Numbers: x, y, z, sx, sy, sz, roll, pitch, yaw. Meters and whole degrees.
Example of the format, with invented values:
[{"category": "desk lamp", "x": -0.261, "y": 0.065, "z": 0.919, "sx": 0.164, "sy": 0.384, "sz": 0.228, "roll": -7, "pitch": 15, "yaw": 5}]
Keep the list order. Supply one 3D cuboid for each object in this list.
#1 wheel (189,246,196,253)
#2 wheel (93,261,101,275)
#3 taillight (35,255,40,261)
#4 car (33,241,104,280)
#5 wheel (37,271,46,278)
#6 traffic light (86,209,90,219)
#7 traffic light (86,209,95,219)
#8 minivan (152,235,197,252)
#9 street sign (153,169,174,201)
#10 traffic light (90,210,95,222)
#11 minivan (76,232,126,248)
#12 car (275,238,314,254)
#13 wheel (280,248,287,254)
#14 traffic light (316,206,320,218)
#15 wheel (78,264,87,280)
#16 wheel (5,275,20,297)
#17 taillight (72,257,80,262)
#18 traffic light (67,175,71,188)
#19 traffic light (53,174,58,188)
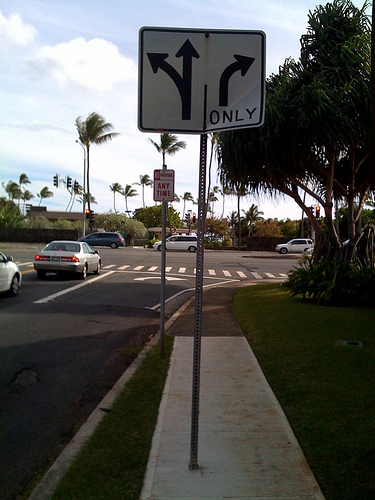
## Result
[{"category": "wheel", "x": 0.572, "y": -0.128, "z": 43.606, "sx": 0.539, "sy": 0.654, "sz": 0.195, "roll": 4, "pitch": 8, "yaw": -6}, {"category": "wheel", "x": -4.451, "y": 0.870, "z": 19.754, "sx": 0.202, "sy": 0.684, "sz": 0.619, "roll": 0, "pitch": -3, "yaw": 9}, {"category": "taillight", "x": -6.226, "y": 0.324, "z": 16.750, "sx": 0.182, "sy": 0.193, "sz": 0.198, "roll": 0, "pitch": 6, "yaw": -14}, {"category": "car", "x": -4.996, "y": 0.462, "z": 18.132, "sx": 1.332, "sy": 1.101, "sz": 3.272, "roll": 1, "pitch": 4, "yaw": 6}, {"category": "wheel", "x": -6.217, "y": 1.055, "z": 17.206, "sx": 0.312, "sy": 0.280, "sz": 0.528, "roll": -2, "pitch": 0, "yaw": -21}, {"category": "traffic light", "x": -11.134, "y": -3.991, "z": 45.308, "sx": 0.393, "sy": 1.062, "sz": 0.967, "roll": -1, "pitch": 0, "yaw": -15}, {"category": "traffic light", "x": -11.000, "y": -4.027, "z": 45.423, "sx": 0.710, "sy": 1.089, "sz": 1.261, "roll": -2, "pitch": 0, "yaw": -15}, {"category": "minivan", "x": -1.003, "y": -0.733, "z": 43.787, "sx": 3.493, "sy": 1.426, "sz": 2.090, "roll": 3, "pitch": 0, "yaw": -1}, {"category": "street sign", "x": -0.392, "y": -1.100, "z": 6.794, "sx": 0.364, "sy": 0.616, "sz": 0.061, "roll": 0, "pitch": 38, "yaw": -5}, {"category": "traffic light", "x": -10.724, "y": -3.717, "z": 45.207, "sx": 0.193, "sy": 0.904, "sz": 0.886, "roll": 1, "pitch": 1, "yaw": 19}, {"category": "minivan", "x": -8.995, "y": -1.136, "z": 44.593, "sx": 3.429, "sy": 1.364, "sz": 1.798, "roll": 4, "pitch": 0, "yaw": -7}, {"category": "car", "x": 12.181, "y": -0.391, "z": 45.660, "sx": 3.227, "sy": 1.562, "sz": 1.735, "roll": 2, "pitch": -1, "yaw": -2}, {"category": "wheel", "x": 11.238, "y": 0.134, "z": 46.846, "sx": 0.550, "sy": 0.673, "sz": 0.216, "roll": -2, "pitch": -3, "yaw": 2}, {"category": "traffic light", "x": 11.057, "y": -3.184, "z": 34.035, "sx": 0.268, "sy": 0.973, "sz": 0.789, "roll": -1, "pitch": 0, "yaw": 18}, {"category": "wheel", "x": -4.542, "y": 0.914, "z": 17.351, "sx": 0.212, "sy": 0.624, "sz": 0.568, "roll": -2, "pitch": 9, "yaw": 2}, {"category": "wheel", "x": -5.222, "y": 1.063, "z": 11.993, "sx": 0.191, "sy": 0.689, "sz": 0.622, "roll": 2, "pitch": -1, "yaw": 2}, {"category": "taillight", "x": -4.634, "y": 0.402, "z": 16.773, "sx": 0.093, "sy": 0.188, "sz": 0.322, "roll": -1, "pitch": 0, "yaw": 37}, {"category": "traffic light", "x": -13.481, "y": -7.686, "z": 45.996, "sx": 0.393, "sy": 1.256, "sz": 2.016, "roll": -1, "pitch": 0, "yaw": -15}, {"category": "traffic light", "x": -14.488, "y": -7.563, "z": 44.349, "sx": 0.292, "sy": 1.373, "sz": 1.170, "roll": -1, "pitch": 0, "yaw": -22}]
